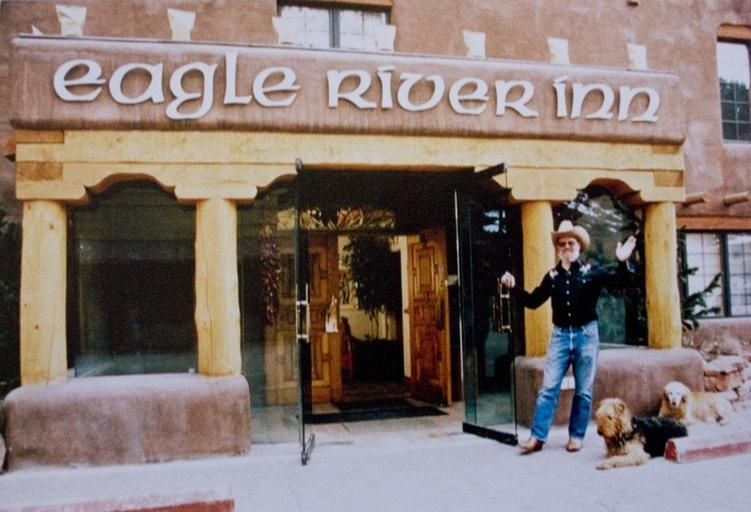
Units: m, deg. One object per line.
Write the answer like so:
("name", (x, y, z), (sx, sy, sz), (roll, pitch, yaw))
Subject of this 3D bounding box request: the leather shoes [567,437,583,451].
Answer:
("leather shoes", (2.578, 2.416, 9.488), (0.206, 0.140, 0.305), (-2, 2, 15))

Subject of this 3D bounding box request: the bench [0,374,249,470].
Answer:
("bench", (-3.192, 2.130, 9.444), (3.008, 1.200, 0.257), (-3, 1, -5))

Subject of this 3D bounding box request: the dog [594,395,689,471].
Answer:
("dog", (3.327, 2.224, 9.245), (1.583, 0.850, 0.573), (1, -3, -29))

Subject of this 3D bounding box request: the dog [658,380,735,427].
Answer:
("dog", (4.505, 2.025, 10.287), (0.996, 0.474, 0.625), (3, -9, -24))

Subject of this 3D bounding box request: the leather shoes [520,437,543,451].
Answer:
("leather shoes", (1.997, 2.433, 9.436), (0.425, 0.202, 0.130), (18, -24, -38))
